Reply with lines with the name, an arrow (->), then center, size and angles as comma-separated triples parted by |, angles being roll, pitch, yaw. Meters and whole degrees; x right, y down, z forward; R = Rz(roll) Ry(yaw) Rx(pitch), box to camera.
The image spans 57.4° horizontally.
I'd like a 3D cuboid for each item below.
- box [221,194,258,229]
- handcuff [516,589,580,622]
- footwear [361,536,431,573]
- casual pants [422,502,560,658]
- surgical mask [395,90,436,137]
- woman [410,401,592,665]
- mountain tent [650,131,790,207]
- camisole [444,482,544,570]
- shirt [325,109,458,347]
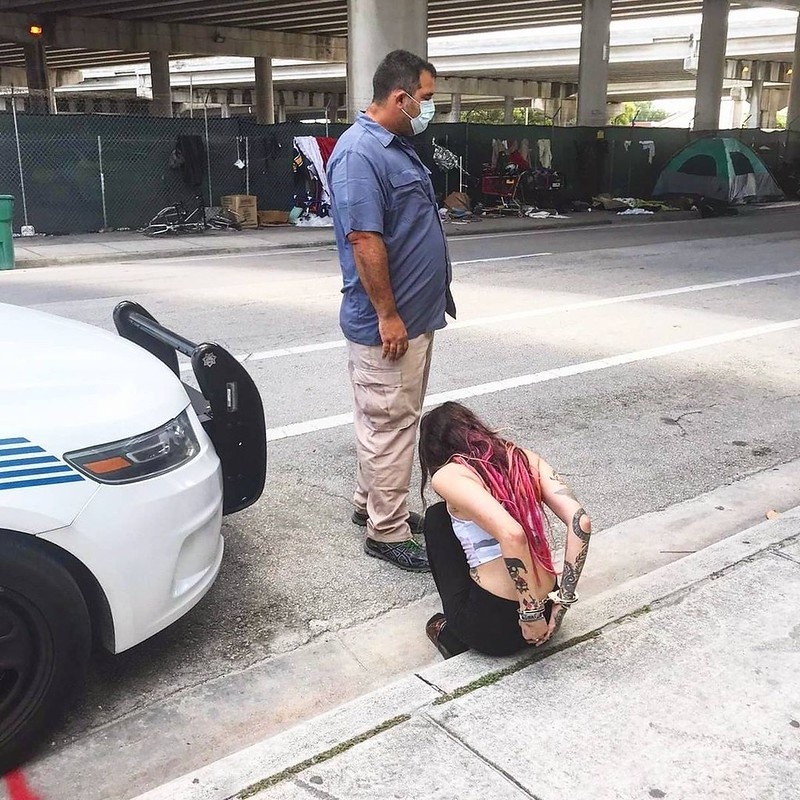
box -> -4.100, -4.838, 18.810 | 0.808, 0.895, 0.641 | -6, 10, -9
handcuff -> 0.481, 0.667, 2.368 | 0.180, 0.042, 0.091 | -21, 17, -22
footwear -> 0.007, 0.710, 3.518 | 0.345, 0.163, 0.135 | 15, 21, 9
casual pants -> 0.287, 0.532, 2.612 | 0.303, 0.335, 0.656 | -6, 45, -6
surgical mask -> 0.072, -1.246, 3.177 | 0.186, 0.145, 0.156 | 6, 19, -8
woman -> 0.323, 0.577, 2.628 | 0.405, 0.905, 0.753 | -14, 34, -22
mountain tent -> 10.964, -7.908, 24.263 | 3.092, 1.402, 3.139 | -12, 30, -5
camisole -> 0.310, 0.388, 2.309 | 0.262, 0.143, 0.204 | 45, 41, 11
shirt -> -0.035, -0.753, 3.221 | 0.532, 0.999, 0.467 | -6, 10, -4
